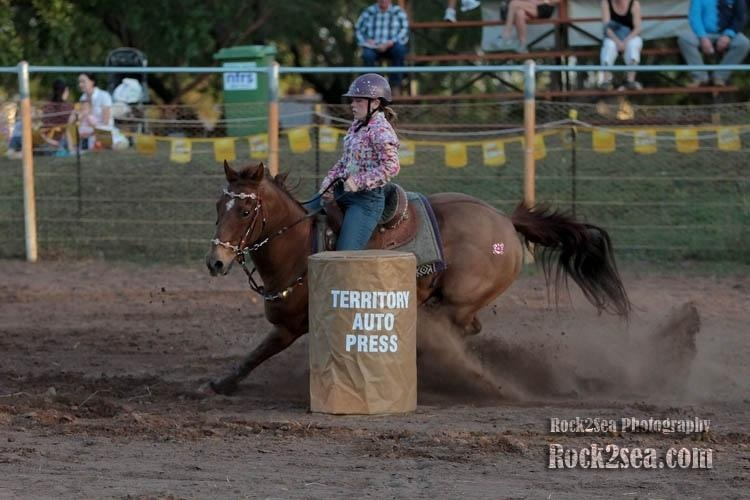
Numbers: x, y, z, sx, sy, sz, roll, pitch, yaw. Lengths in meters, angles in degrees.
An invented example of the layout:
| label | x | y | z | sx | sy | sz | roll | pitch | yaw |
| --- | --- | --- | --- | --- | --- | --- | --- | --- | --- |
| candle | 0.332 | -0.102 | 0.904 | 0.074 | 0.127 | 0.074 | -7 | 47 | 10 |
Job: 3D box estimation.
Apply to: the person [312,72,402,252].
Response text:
| label | x | y | z | sx | sy | sz | roll | pitch | yaw |
| --- | --- | --- | --- | --- | --- | --- | --- | --- | --- |
| person | -0.211 | -1.065 | 17.892 | 1.012 | 2.137 | 0.670 | 0 | 5 | 16 |

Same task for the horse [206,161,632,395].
| label | x | y | z | sx | sy | sz | roll | pitch | yaw |
| --- | --- | --- | --- | --- | --- | --- | --- | --- | --- |
| horse | 0.688 | 0.413 | 18.723 | 6.183 | 2.834 | 1.336 | -1 | 3 | -27 |
